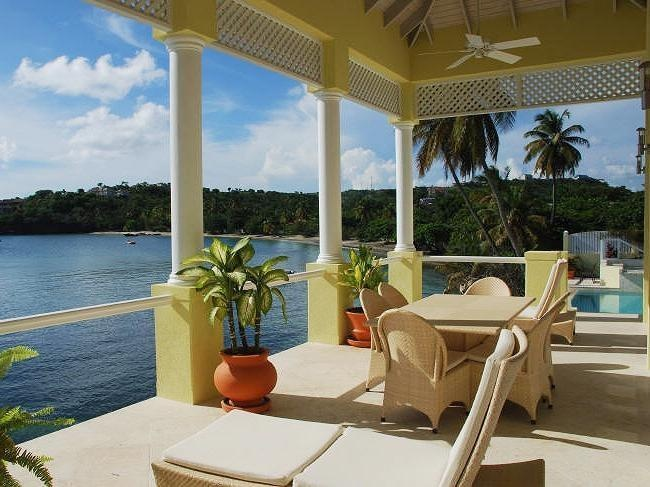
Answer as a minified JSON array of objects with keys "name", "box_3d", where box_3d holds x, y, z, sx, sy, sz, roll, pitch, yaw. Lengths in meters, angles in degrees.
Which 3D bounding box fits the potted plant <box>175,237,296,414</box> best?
[{"name":"potted plant","box_3d":[-0.738,0.679,3.677,0.895,1.384,0.723,-3,1,20]}]

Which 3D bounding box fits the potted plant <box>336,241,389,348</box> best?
[{"name":"potted plant","box_3d":[0.625,0.678,5.728,0.547,1.327,0.579,-2,2,7]}]
